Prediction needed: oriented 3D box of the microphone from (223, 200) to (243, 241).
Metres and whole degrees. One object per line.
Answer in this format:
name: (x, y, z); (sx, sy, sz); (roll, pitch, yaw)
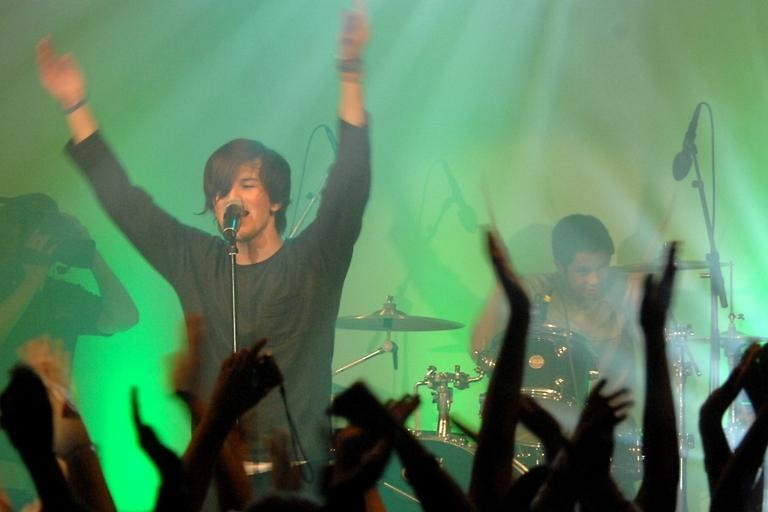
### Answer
microphone: (-0.828, -0.188, 3.923); (0.103, 0.218, 0.090); (10, -16, -21)

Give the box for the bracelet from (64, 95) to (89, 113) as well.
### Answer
bracelet: (-1.662, -0.823, 3.822); (0.122, 0.085, 0.091); (3, -15, 3)

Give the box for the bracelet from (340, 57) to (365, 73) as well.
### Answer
bracelet: (-0.172, -1.007, 3.716); (0.126, 0.069, 0.082); (3, -15, 1)

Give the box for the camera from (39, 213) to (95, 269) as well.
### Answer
camera: (-2.281, -0.136, 5.153); (0.104, 0.365, 0.388); (-26, -38, 34)
